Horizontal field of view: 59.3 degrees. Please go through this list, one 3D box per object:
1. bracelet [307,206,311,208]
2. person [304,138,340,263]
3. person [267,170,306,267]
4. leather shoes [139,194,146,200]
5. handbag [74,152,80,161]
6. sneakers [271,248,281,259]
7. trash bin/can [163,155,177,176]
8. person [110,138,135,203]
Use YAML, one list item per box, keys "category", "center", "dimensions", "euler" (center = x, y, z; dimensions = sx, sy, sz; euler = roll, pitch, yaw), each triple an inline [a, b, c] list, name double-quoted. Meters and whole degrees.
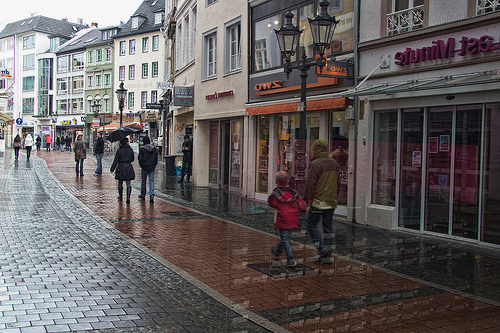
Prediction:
- category: "bracelet"
  center: [0.656, 0.459, 4.902]
  dimensions: [0.032, 0.016, 0.033]
  euler: [1, -9, -44]
- category: "person"
  center: [0.787, 0.338, 4.869]
  dimensions: [0.404, 1.255, 0.688]
  euler: [0, 4, 11]
- category: "person"
  center: [0.425, 0.645, 4.965]
  dimensions: [0.418, 0.777, 0.722]
  euler: [-1, 4, 2]
- category: "leather shoes"
  center: [-3.564, 1.018, 14.531]
  dimensions: [0.167, 0.154, 0.078]
  euler: [-17, 4, 37]
- category: "handbag"
  center: [-8.348, -0.443, 21.294]
  dimensions: [0.230, 0.385, 0.290]
  euler: [-3, 4, -30]
- category: "sneakers"
  center: [0.276, 0.932, 4.696]
  dimensions: [0.072, 0.061, 0.156]
  euler: [1, 11, -11]
- category: "trash bin/can"
  center: [-4.084, -0.030, 22.643]
  dimensions: [0.500, 1.069, 0.885]
  euler: [-2, 4, -11]
- category: "person"
  center: [-4.057, 0.105, 14.068]
  dimensions: [0.677, 2.018, 1.280]
  euler: [-2, 4, -14]
